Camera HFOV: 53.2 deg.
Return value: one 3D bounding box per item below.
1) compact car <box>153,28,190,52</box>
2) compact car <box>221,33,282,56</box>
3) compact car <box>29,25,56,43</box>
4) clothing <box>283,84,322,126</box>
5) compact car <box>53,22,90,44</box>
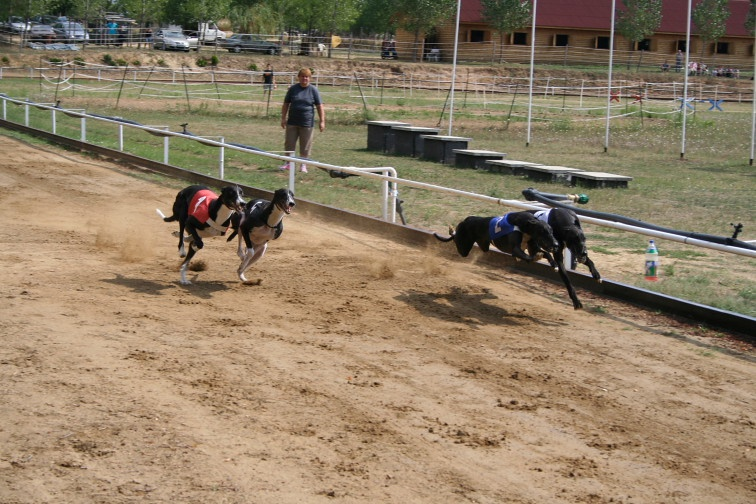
[{"bbox_3d":[-14.840,-15.044,54.111,1.714,0.695,3.169,-2,8,-35],"label":"compact car"},{"bbox_3d":[-9.625,-15.718,57.319,4.365,1.541,1.715,1,12,-7],"label":"compact car"},{"bbox_3d":[-24.799,-16.055,55.615,1.704,1.383,1.955,-1,11,-20],"label":"compact car"},{"bbox_3d":[-1.811,-3.478,17.975,0.861,0.998,0.447,3,15,-5],"label":"clothing"},{"bbox_3d":[-23.270,-16.369,56.600,1.855,1.733,2.737,-5,13,-36],"label":"compact car"}]
